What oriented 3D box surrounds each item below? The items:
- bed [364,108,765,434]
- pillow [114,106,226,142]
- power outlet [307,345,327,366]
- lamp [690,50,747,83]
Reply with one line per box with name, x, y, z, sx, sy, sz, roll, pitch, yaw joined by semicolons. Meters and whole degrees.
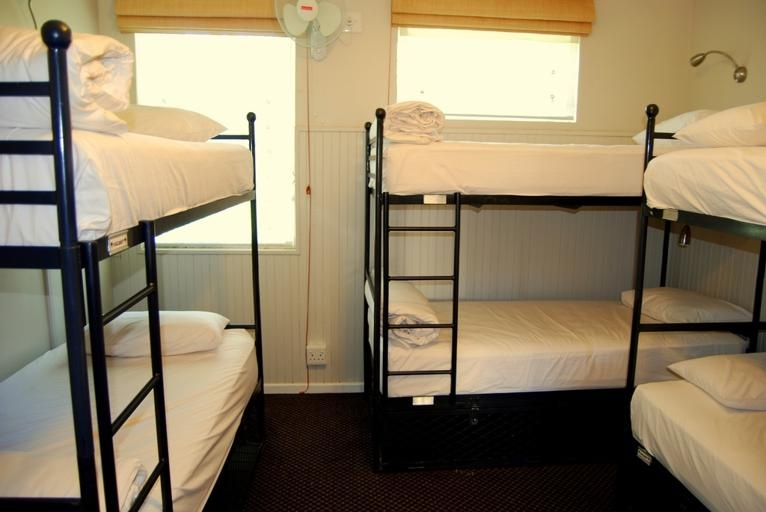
bed;1.156;0.094;3.990;2.482;1.881;0.877;1;6;-9
pillow;-1.229;-0.792;3.624;0.459;0.106;0.283;-5;35;-45
power outlet;-0.524;0.781;4.797;0.162;0.145;0.080;0;3;-8
lamp;2.396;-1.408;4.476;0.307;0.257;0.462;-4;14;-15
